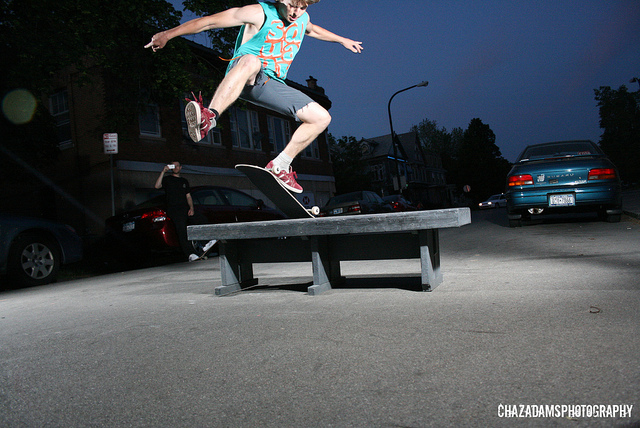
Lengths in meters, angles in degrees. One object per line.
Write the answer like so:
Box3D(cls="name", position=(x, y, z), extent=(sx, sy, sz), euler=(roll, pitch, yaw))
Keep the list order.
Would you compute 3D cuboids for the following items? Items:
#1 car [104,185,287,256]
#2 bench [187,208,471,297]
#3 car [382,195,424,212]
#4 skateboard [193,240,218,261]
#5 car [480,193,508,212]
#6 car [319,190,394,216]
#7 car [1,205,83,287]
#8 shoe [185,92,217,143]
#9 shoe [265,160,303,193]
Box3D(cls="car", position=(-3.090, 0.120, 11.183), extent=(1.940, 1.535, 4.423), euler=(-7, -3, 37))
Box3D(cls="bench", position=(0.185, 0.501, 5.272), extent=(3.211, 0.983, 0.953), euler=(-7, 2, 20))
Box3D(cls="car", position=(3.706, -0.432, 18.674), extent=(1.208, 0.956, 2.714), euler=(-1, 4, 34))
Box3D(cls="skateboard", position=(-2.531, 0.815, 9.066), extent=(0.278, 0.260, 1.376), euler=(4, -26, -32))
Box3D(cls="car", position=(20.310, -1.416, 48.163), extent=(1.841, 1.367, 4.563), euler=(-6, 2, 30))
Box3D(cls="car", position=(1.226, -0.333, 15.398), extent=(1.228, 0.945, 2.755), euler=(-4, 2, 33))
Box3D(cls="car", position=(-5.872, 0.700, 8.414), extent=(1.530, 1.172, 1.569), euler=(4, 9, 37))
Box3D(cls="shoe", position=(-1.278, -1.007, 4.367), extent=(0.267, 0.211, 0.640), euler=(-42, -22, -31))
Box3D(cls="shoe", position=(-0.403, -0.413, 5.183), extent=(0.292, 0.339, 0.294), euler=(-7, 2, -3))
